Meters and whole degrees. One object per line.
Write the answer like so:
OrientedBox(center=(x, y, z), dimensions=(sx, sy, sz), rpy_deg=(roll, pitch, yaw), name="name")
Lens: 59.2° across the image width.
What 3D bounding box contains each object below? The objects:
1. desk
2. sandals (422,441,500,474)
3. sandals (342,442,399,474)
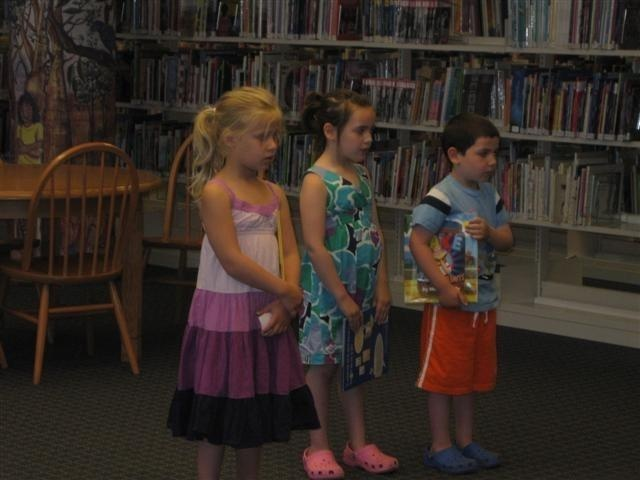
OrientedBox(center=(-1.401, -0.025, 3.234), dimensions=(0.964, 0.823, 1.030), rpy_deg=(1, 3, -15), name="desk")
OrientedBox(center=(0.514, 0.763, 2.047), dimensions=(0.162, 0.061, 0.130), rpy_deg=(-3, 0, 32), name="sandals")
OrientedBox(center=(0.185, 0.767, 2.062), dimensions=(0.170, 0.077, 0.089), rpy_deg=(2, 5, 37), name="sandals")
